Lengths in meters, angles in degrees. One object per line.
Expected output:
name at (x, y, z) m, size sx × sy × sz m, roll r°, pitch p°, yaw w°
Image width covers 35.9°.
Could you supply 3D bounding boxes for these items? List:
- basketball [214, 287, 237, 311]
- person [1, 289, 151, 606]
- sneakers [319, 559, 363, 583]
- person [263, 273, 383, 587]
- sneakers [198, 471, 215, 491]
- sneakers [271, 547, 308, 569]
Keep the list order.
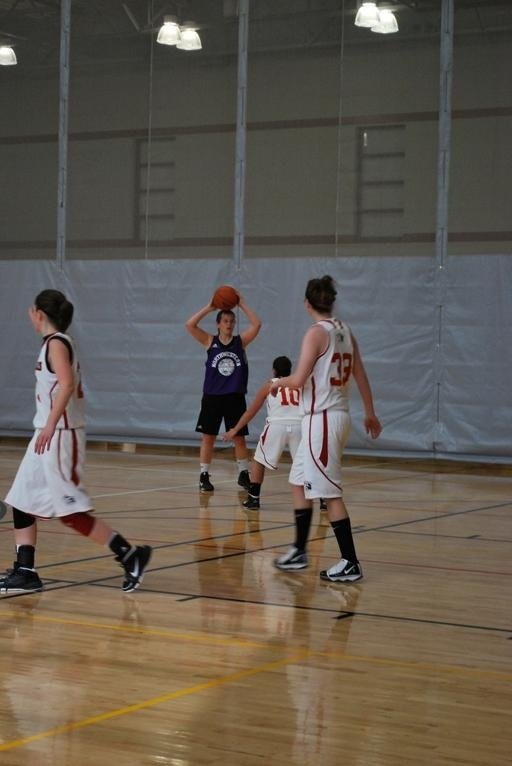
basketball at (-0.243, -0.675, 6.353) m, size 0.212 × 0.217 × 0.228 m, roll 1°, pitch -3°, yaw -3°
person at (-0.704, 0.218, 2.965) m, size 0.541 × 1.147 × 0.453 m, roll -1°, pitch -3°, yaw 40°
sneakers at (0.360, 0.776, 3.274) m, size 0.197 × 0.099 × 0.077 m, roll 0°, pitch -5°, yaw 13°
person at (0.283, 0.197, 3.264) m, size 0.492 × 1.220 × 0.380 m, roll 0°, pitch 1°, yaw 10°
sneakers at (-0.399, 0.802, 6.388) m, size 0.110 × 0.152 × 0.197 m, roll 1°, pitch -3°, yaw -2°
sneakers at (0.152, 0.787, 3.543) m, size 0.160 × 0.097 × 0.078 m, roll 6°, pitch -13°, yaw 3°
